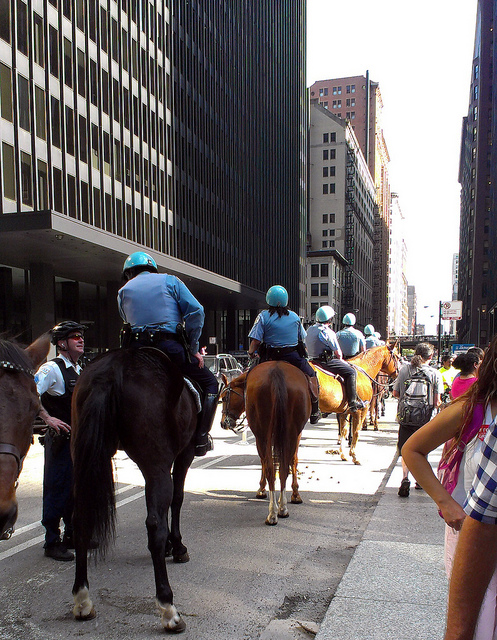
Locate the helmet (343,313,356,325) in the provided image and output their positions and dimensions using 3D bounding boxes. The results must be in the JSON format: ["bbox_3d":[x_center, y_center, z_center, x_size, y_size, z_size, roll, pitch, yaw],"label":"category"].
[{"bbox_3d":[1.961,-0.014,14.480,0.166,0.224,0.245,2,-9,9],"label":"helmet"}]

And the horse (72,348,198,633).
[{"bbox_3d":[-0.824,1.149,5.179,0.768,1.862,0.689,0,1,-15],"label":"horse"}]

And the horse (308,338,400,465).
[{"bbox_3d":[1.767,1.349,11.913,0.663,1.792,3.662,0,1,21],"label":"horse"}]

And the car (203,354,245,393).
[{"bbox_3d":[-0.723,1.644,24.236,0.885,1.026,2.175,-2,-12,10],"label":"car"}]

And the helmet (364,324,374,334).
[{"bbox_3d":[3.036,0.243,18.791,0.213,0.280,0.322,-1,-10,12],"label":"helmet"}]

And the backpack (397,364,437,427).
[{"bbox_3d":[2.033,0.895,8.915,0.412,0.771,0.430,6,-5,0],"label":"backpack"}]

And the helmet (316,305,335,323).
[{"bbox_3d":[1.140,-0.077,11.182,0.184,0.241,0.276,0,4,18],"label":"helmet"}]

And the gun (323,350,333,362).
[{"bbox_3d":[1.198,0.542,11.145,0.054,0.182,0.113,-8,-5,44],"label":"gun"}]

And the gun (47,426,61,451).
[{"bbox_3d":[-1.689,1.042,6.544,0.127,0.204,0.065,11,6,40],"label":"gun"}]

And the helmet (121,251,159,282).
[{"bbox_3d":[-0.957,-0.443,6.503,0.225,0.337,0.296,2,2,-26],"label":"helmet"}]

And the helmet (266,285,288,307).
[{"bbox_3d":[0.350,-0.285,9.121,0.179,0.241,0.266,4,10,8],"label":"helmet"}]

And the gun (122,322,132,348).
[{"bbox_3d":[-0.999,0.126,6.158,0.057,0.186,0.115,4,5,-35],"label":"gun"}]
